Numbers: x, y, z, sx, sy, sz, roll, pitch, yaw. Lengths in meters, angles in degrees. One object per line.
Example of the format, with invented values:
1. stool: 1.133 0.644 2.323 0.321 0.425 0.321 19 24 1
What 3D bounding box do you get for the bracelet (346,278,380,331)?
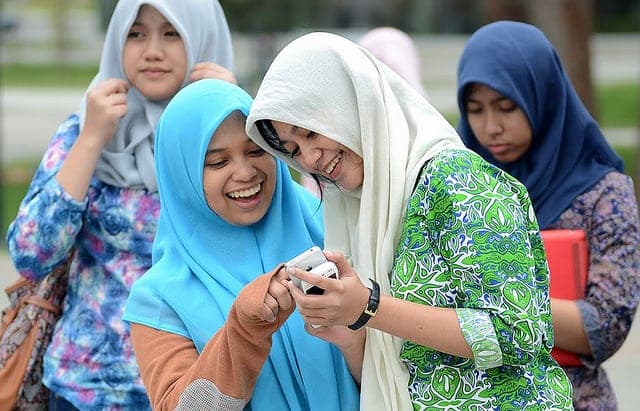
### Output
1. bracelet: 0.223 0.494 3.479 0.164 0.235 0.110 -7 10 -33
